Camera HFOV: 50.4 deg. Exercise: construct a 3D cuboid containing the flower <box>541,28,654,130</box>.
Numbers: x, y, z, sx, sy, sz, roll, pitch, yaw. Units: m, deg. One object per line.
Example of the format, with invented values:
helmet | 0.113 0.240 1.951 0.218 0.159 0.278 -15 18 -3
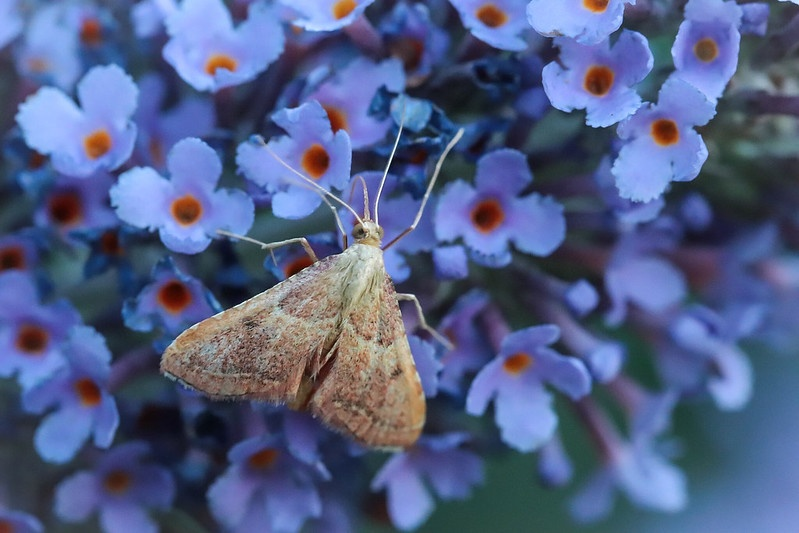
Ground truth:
flower | 0.473 -0.458 2.030 0.221 0.141 0.257 -2 94 16
